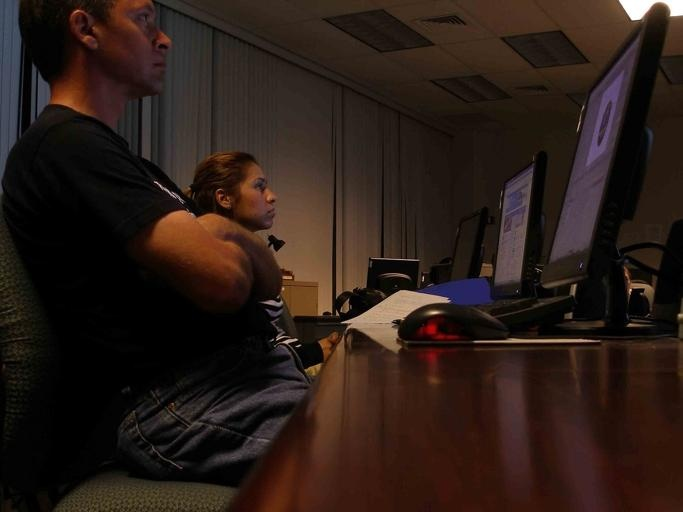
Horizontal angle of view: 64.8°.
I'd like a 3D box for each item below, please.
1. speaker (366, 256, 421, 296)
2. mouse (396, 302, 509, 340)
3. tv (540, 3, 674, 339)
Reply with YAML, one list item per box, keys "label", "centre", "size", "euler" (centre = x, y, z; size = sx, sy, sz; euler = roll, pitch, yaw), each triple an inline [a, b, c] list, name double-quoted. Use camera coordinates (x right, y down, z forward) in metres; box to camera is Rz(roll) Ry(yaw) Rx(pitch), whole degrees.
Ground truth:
- label: "speaker"
  centre: [0.324, 0.129, 3.415]
  size: [0.220, 0.266, 0.086]
  euler: [1, 4, -11]
- label: "mouse"
  centre: [0.194, 0.112, 0.924]
  size: [0.129, 0.049, 0.082]
  euler: [-3, -4, -5]
- label: "tv"
  centre: [0.547, -0.137, 1.139]
  size: [0.229, 0.598, 0.424]
  euler: [1, -4, 21]
